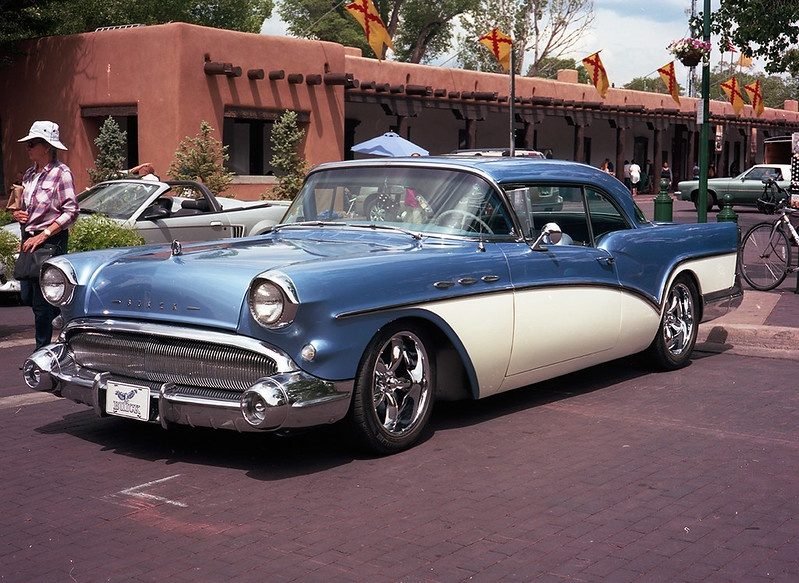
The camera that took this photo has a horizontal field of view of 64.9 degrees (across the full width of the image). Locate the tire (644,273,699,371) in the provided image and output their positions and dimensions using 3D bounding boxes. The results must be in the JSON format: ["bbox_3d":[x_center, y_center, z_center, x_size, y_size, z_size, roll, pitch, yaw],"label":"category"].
[{"bbox_3d":[2.851,0.308,6.656,0.258,0.795,0.794,-4,22,48],"label":"tire"}]

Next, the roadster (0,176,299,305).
[{"bbox_3d":[-4.154,-0.712,11.837,5.580,1.868,2.632,0,0,-45],"label":"roadster"}]

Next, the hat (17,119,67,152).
[{"bbox_3d":[-3.783,-1.680,6.680,0.314,0.328,0.872,-3,8,-29],"label":"hat"}]

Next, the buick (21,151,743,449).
[{"bbox_3d":[0.171,-0.082,5.373,5.568,2.197,1.845,-5,8,-37],"label":"buick"}]

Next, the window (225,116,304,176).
[{"bbox_3d":[-5.140,-5.555,23.776,0.111,2.087,2.964,3,3,35],"label":"window"}]

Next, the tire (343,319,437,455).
[{"bbox_3d":[-0.089,0.636,4.262,0.319,0.952,0.953,-1,-1,36],"label":"tire"}]

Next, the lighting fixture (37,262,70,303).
[{"bbox_3d":[-2.493,-0.053,4.577,0.230,0.319,0.113,-5,4,33],"label":"lighting fixture"}]
